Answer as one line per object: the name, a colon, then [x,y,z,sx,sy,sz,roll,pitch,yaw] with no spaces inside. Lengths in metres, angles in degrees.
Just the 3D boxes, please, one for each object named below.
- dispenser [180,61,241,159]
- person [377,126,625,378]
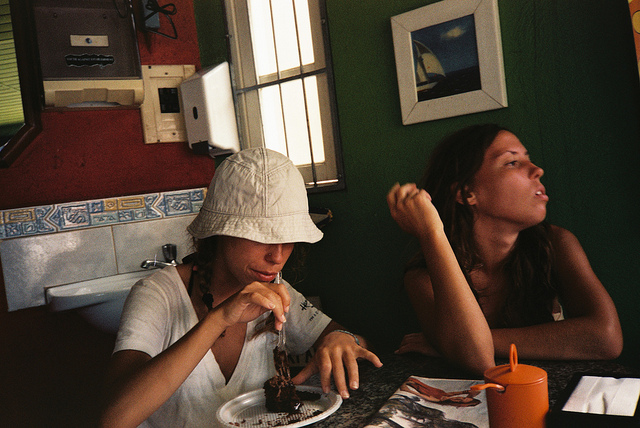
dispenser: [-0.785,-0.730,3.757,0.273,0.650,0.388,-10,12,-30]
person: [0.795,0.162,2.475,0.924,1.127,0.894,-2,10,6]
